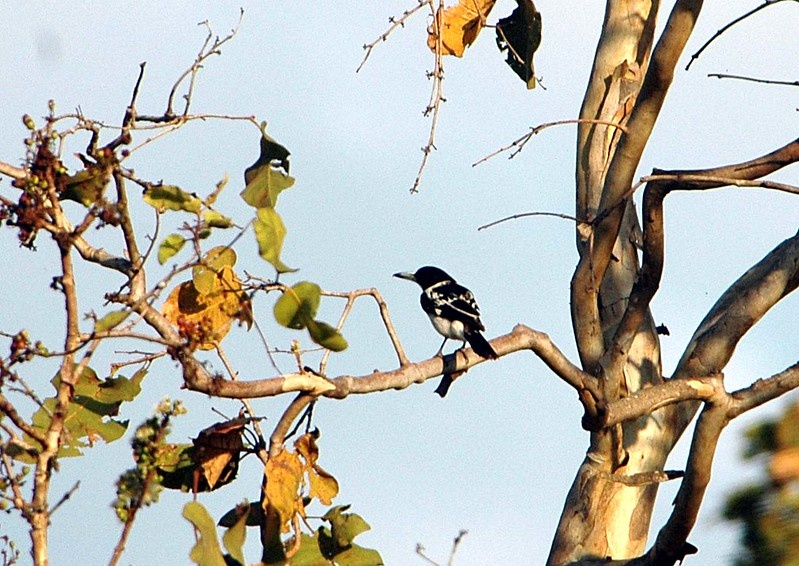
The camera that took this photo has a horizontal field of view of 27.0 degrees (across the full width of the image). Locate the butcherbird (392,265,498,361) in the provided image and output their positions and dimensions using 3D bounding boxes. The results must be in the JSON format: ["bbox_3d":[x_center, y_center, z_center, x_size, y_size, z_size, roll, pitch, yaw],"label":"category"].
[{"bbox_3d":[0.475,0.276,16.843,0.446,0.923,1.773,-2,-2,-25],"label":"butcherbird"}]
